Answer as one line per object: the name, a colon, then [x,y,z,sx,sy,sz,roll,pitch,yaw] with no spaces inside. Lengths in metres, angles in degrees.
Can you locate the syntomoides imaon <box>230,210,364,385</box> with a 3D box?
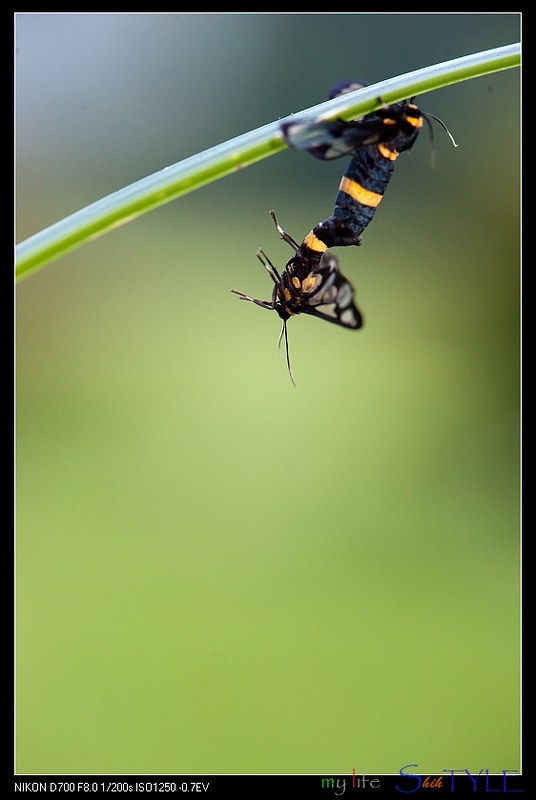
syntomoides imaon: [0.070,-0.229,1.935,0.131,0.248,0.277,29,-45,-34]
